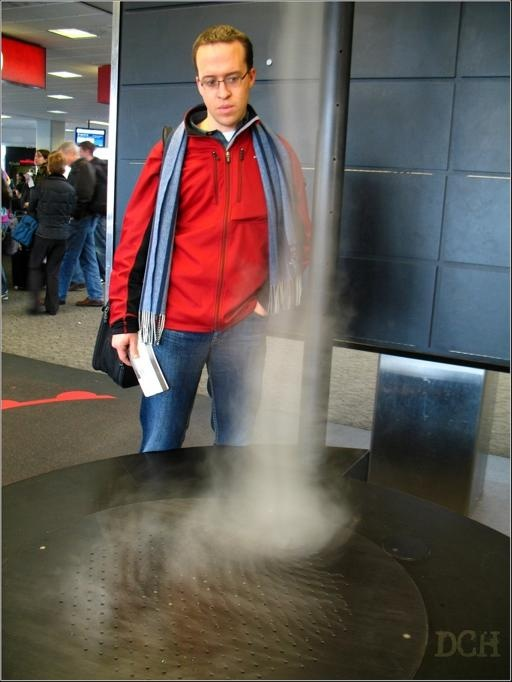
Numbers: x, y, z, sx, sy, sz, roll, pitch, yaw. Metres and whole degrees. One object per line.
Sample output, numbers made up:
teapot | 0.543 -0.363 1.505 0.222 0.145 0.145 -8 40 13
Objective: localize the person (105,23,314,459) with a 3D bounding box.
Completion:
person | -0.062 -0.158 1.138 0.351 0.853 0.190 -5 15 -30

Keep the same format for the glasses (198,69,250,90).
glasses | -0.060 -0.470 0.979 0.085 0.030 0.034 2 13 -2

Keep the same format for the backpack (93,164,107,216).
backpack | -1.089 -1.053 3.769 0.076 0.361 0.349 0 13 -14
